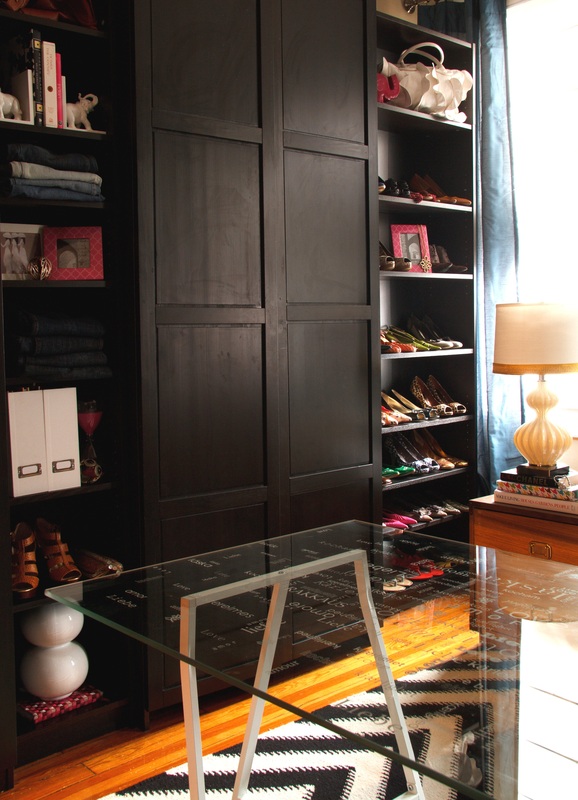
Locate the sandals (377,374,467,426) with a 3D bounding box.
[{"bbox_3d":[0.683,0.020,3.253,0.262,0.156,0.370,-6,3,-22],"label":"sandals"}]

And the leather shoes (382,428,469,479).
[{"bbox_3d":[0.638,0.276,3.237,0.245,0.125,0.313,-6,9,-37],"label":"leather shoes"}]

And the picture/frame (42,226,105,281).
[{"bbox_3d":[-0.686,-0.464,2.014,0.150,0.169,0.013,-2,-15,-19],"label":"picture/frame"}]

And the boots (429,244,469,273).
[{"bbox_3d":[0.832,-0.728,3.329,0.173,0.182,0.145,-1,-1,37],"label":"boots"}]

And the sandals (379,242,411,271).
[{"bbox_3d":[0.483,-0.654,2.962,0.152,0.068,0.143,7,13,10],"label":"sandals"}]

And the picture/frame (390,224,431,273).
[{"bbox_3d":[0.599,-0.754,3.178,0.267,0.357,0.027,5,-17,-36],"label":"picture/frame"}]

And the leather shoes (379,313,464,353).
[{"bbox_3d":[0.634,-0.306,3.178,0.272,0.105,0.280,2,5,42],"label":"leather shoes"}]

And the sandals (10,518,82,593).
[{"bbox_3d":[-0.776,0.480,1.967,0.152,0.102,0.237,-6,19,-35],"label":"sandals"}]
